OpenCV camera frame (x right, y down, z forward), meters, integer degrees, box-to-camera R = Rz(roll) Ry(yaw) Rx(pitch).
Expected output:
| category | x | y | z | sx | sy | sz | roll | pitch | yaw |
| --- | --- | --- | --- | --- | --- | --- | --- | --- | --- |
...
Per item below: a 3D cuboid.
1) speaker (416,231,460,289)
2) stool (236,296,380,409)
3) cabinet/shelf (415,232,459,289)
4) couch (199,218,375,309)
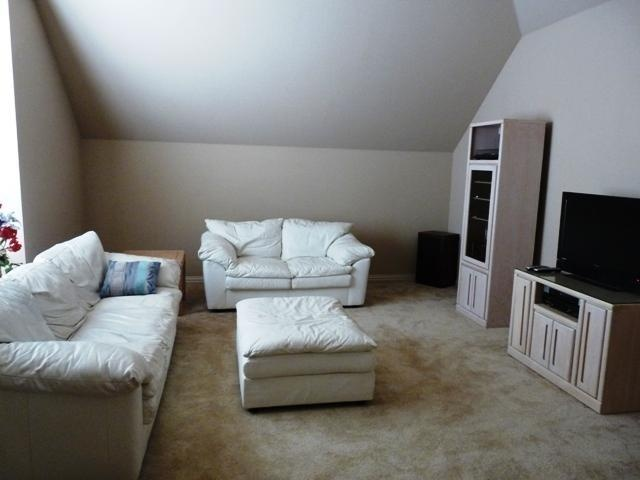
| category | x | y | z | sx | sy | sz | roll | pitch | yaw |
| --- | --- | --- | --- | --- | --- | --- | --- | --- | --- |
| speaker | 1.556 | 0.267 | 6.194 | 0.559 | 0.883 | 0.420 | 7 | 11 | 40 |
| stool | -0.139 | 0.877 | 3.774 | 1.014 | 0.579 | 0.847 | -3 | 12 | -10 |
| cabinet/shelf | 1.554 | 0.262 | 6.199 | 0.549 | 0.874 | 0.420 | 8 | 11 | 40 |
| couch | -0.428 | 0.290 | 5.511 | 1.852 | 0.941 | 0.860 | -4 | 12 | -13 |
